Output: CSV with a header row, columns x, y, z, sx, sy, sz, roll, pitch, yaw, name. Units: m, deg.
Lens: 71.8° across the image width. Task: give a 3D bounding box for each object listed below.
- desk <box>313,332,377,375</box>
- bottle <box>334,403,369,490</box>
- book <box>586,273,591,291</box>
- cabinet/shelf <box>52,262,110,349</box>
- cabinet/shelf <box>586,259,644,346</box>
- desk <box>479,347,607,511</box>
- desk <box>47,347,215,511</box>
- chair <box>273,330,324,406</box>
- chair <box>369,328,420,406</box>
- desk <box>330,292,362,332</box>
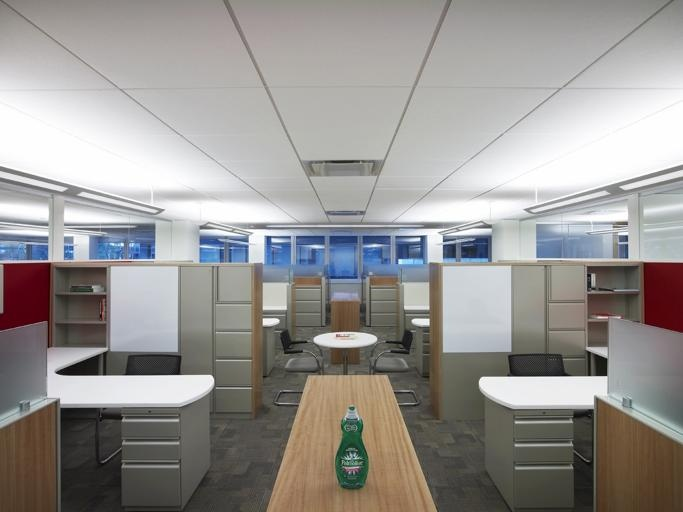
x,y,z,sx,sy,sz,roll,pitch,yaw,name
0.109,1.226,6.796,0.862,0.551,0.819,1,2,-17,desk
0.089,1.417,3.534,0.265,0.611,0.185,-1,14,-4,bottle
3.393,0.350,6.452,0.056,0.189,0.129,6,14,24,book
-3.536,0.626,6.462,0.782,1.146,0.678,-3,13,-11,cabinet/shelf
3.729,0.624,6.534,0.677,1.159,0.594,-1,13,-3,cabinet/shelf
2.052,1.865,5.135,1.369,0.882,1.262,-1,-10,1,desk
-1.922,1.670,4.503,1.531,0.675,1.501,1,-3,-2,desk
-0.585,1.595,7.041,1.018,1.191,1.010,-1,-2,4,chair
0.742,1.603,6.872,0.822,0.930,0.832,-1,-1,-10,chair
0.079,0.817,9.079,0.533,0.612,1.325,-1,0,0,desk
